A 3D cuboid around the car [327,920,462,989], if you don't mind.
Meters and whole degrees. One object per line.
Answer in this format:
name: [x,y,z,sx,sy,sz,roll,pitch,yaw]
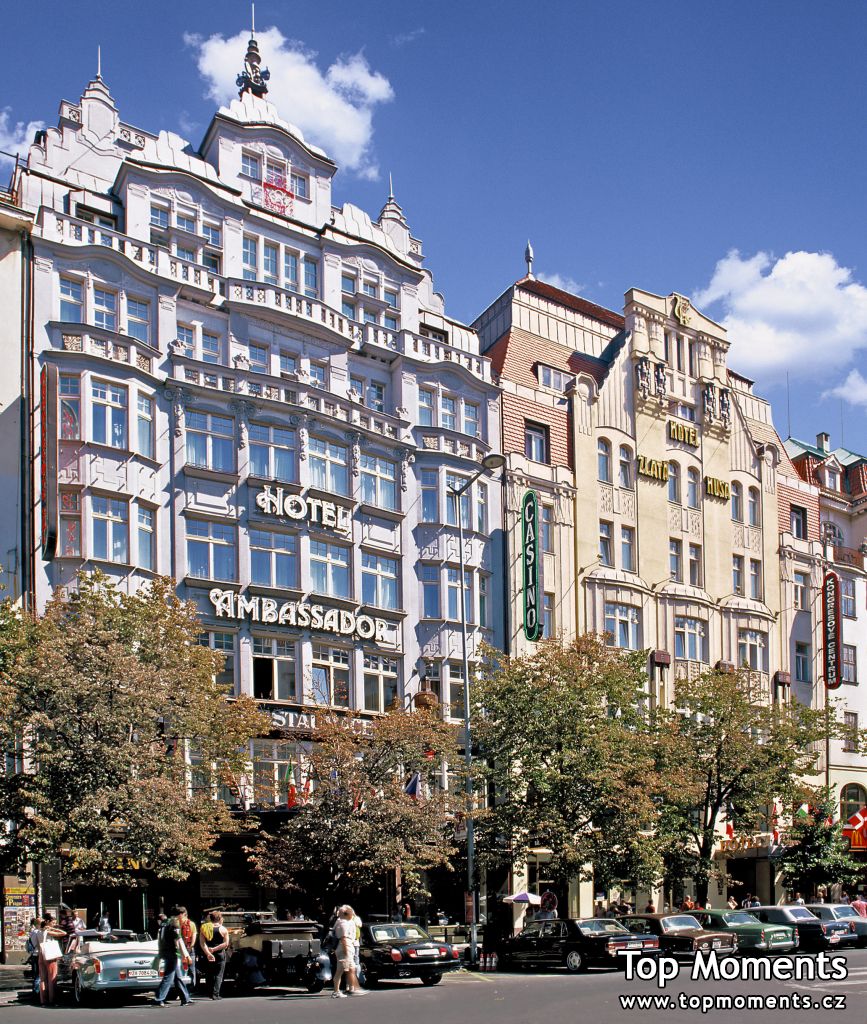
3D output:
car: [-0.744,11.594,65.910,3.491,1.796,2.943,10,-15,-20]
